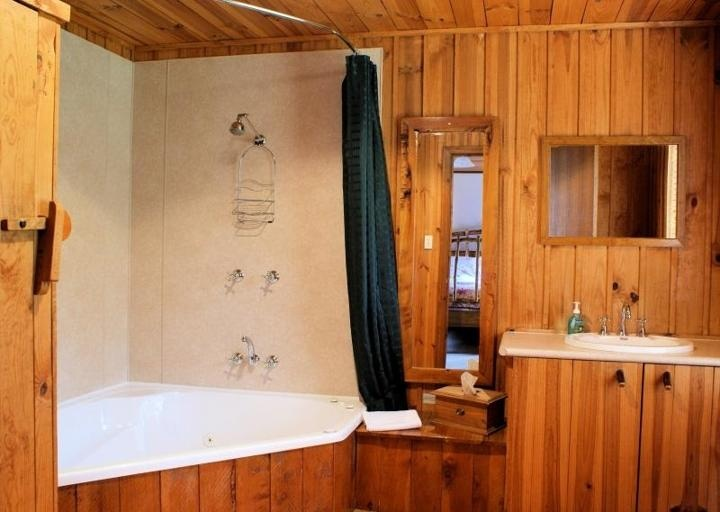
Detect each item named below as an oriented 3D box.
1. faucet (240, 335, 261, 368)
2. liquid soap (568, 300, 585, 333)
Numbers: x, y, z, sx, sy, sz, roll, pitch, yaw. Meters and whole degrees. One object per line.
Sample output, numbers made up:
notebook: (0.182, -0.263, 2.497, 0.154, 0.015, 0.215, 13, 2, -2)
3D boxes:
faucet: (-0.718, 0.624, 4.799, 0.126, 0.195, 0.124, -2, 0, -10)
liquid soap: (1.310, 0.368, 4.423, 0.101, 0.203, 0.143, -2, 0, 17)
